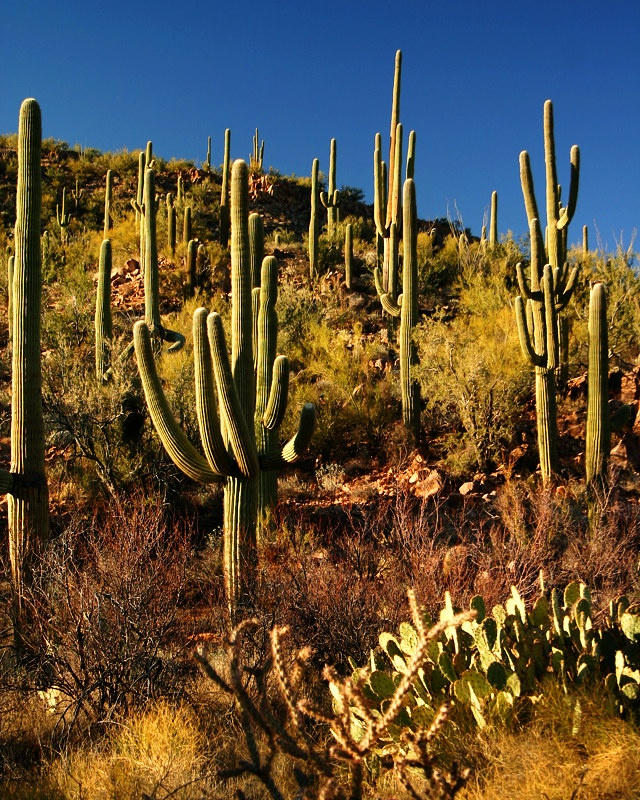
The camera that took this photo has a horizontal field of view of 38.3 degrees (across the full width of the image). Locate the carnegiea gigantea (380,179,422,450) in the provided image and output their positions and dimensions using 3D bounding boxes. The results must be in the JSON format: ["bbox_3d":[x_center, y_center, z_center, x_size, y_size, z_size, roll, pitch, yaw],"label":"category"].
[{"bbox_3d":[1.163,-1.248,12.674,0.431,3.513,1.575,0,5,5],"label":"carnegiea gigantea"}]

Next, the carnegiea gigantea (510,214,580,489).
[{"bbox_3d":[2.507,-0.541,10.333,0.639,2.942,1.164,2,5,18],"label":"carnegiea gigantea"}]

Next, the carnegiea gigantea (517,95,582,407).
[{"bbox_3d":[2.633,-1.693,10.552,0.598,4.347,0.490,-7,-25,31],"label":"carnegiea gigantea"}]

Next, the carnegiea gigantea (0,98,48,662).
[{"bbox_3d":[-2.596,-0.388,8.064,0.379,4.555,1.270,-1,5,-18],"label":"carnegiea gigantea"}]

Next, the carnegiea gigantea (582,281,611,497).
[{"bbox_3d":[2.805,-0.097,9.295,0.225,2.111,0.436,2,5,20],"label":"carnegiea gigantea"}]

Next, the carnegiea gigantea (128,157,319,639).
[{"bbox_3d":[-0.654,-0.160,8.139,1.394,3.825,1.538,3,6,33],"label":"carnegiea gigantea"}]

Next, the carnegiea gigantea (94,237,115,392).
[{"bbox_3d":[-2.918,-1.290,12.483,0.198,1.686,0.756,-1,5,-13],"label":"carnegiea gigantea"}]
